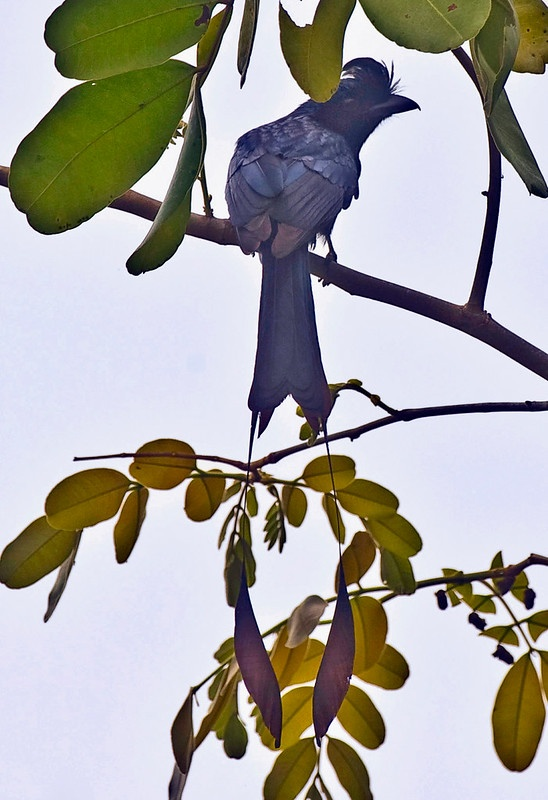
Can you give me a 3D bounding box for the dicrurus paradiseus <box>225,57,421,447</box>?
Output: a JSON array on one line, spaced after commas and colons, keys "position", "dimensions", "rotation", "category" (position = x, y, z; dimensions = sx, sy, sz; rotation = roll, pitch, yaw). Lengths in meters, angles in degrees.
[{"position": [0.047, -0.177, 1.339], "dimensions": [0.102, 0.573, 0.179], "rotation": [4, -31, 12], "category": "dicrurus paradiseus"}]
